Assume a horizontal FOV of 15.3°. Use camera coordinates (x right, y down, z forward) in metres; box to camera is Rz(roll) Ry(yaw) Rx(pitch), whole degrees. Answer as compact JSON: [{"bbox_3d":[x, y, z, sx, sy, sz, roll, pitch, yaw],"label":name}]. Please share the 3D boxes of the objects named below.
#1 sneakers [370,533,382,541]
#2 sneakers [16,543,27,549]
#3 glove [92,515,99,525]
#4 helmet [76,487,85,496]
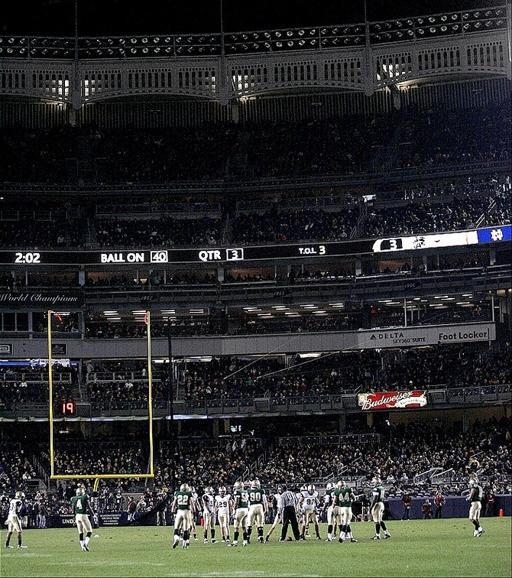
[{"bbox_3d":[4.176,8.754,65.551,0.353,0.332,0.139,5,-5,20],"label":"sneakers"},{"bbox_3d":[-7.946,9.104,65.901,0.370,0.219,0.165,-5,-22,8],"label":"sneakers"},{"bbox_3d":[-6.229,9.487,76.127,0.171,0.475,0.347,-3,-8,0],"label":"glove"},{"bbox_3d":[-5.799,7.011,64.320,0.286,0.341,0.689,-2,-10,-10],"label":"helmet"}]
